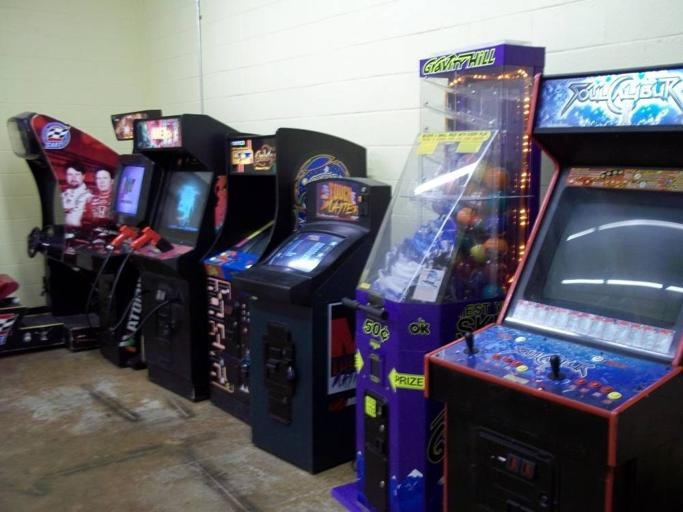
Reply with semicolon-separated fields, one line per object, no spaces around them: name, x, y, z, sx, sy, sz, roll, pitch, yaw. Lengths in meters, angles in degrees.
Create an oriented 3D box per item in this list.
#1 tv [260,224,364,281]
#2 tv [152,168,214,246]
tv;-0.175;-0.048;3.037;0.374;0.227;0.509;-10;14;-40
tv;-1.198;-0.361;4.045;0.041;0.522;0.564;16;4;-39
